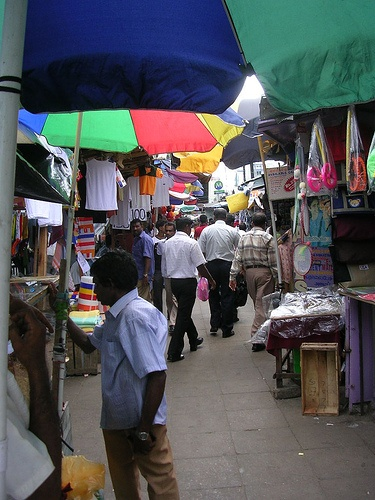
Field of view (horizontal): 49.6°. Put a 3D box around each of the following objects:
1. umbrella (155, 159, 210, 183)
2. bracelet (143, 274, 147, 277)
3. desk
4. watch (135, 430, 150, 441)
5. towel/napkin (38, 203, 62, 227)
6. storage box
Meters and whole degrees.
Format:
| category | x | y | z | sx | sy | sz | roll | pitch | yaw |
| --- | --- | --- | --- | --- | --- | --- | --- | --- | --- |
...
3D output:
| category | x | y | z | sx | sy | sz | roll | pitch | yaw |
| --- | --- | --- | --- | --- | --- | --- | --- | --- | --- |
| umbrella | -0.006 | -1.918 | 10.391 | 0.805 | 0.339 | 0.795 | 16 | -9 | -41 |
| bracelet | -0.796 | 0.488 | 7.693 | 0.042 | 0.051 | 0.049 | -2 | 1 | -17 |
| desk | 1.212 | 1.105 | 4.607 | 0.810 | 0.666 | 0.820 | -2 | -2 | 5 |
| watch | -0.215 | 0.858 | 1.923 | 0.048 | 0.034 | 0.053 | 6 | -11 | 40 |
| towel/napkin | -1.669 | -0.431 | 4.934 | 0.143 | 0.353 | 0.116 | 12 | -42 | -22 |
| storage box | 1.357 | 1.322 | 4.168 | 0.339 | 0.613 | 0.226 | -10 | -22 | 37 |
